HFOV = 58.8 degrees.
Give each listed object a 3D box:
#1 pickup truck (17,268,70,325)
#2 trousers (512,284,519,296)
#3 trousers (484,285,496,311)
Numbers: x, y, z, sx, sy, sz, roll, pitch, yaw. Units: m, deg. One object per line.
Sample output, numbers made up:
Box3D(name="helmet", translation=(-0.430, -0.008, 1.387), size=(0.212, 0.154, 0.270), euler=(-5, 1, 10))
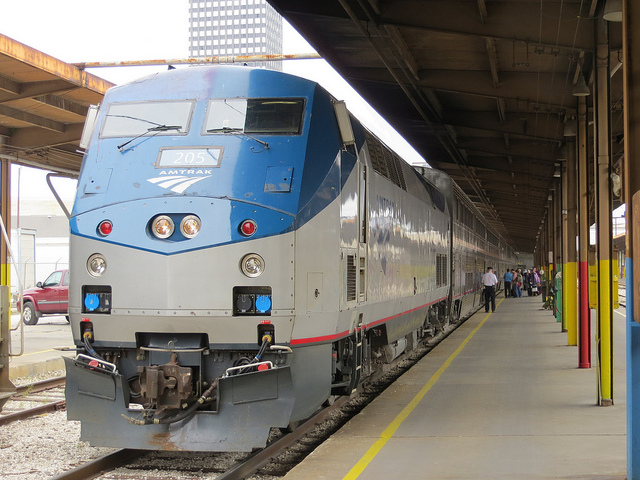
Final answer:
Box3D(name="pickup truck", translation=(-11.212, 2.304, 23.412), size=(2.183, 2.210, 1.347), euler=(-3, -3, 23))
Box3D(name="trousers", translation=(14.253, 3.542, 41.000), size=(0.269, 0.805, 0.809), euler=(-2, -3, 5))
Box3D(name="trousers", translation=(8.097, 2.702, 26.882), size=(0.414, 1.269, 1.445), euler=(-3, -3, 16))
